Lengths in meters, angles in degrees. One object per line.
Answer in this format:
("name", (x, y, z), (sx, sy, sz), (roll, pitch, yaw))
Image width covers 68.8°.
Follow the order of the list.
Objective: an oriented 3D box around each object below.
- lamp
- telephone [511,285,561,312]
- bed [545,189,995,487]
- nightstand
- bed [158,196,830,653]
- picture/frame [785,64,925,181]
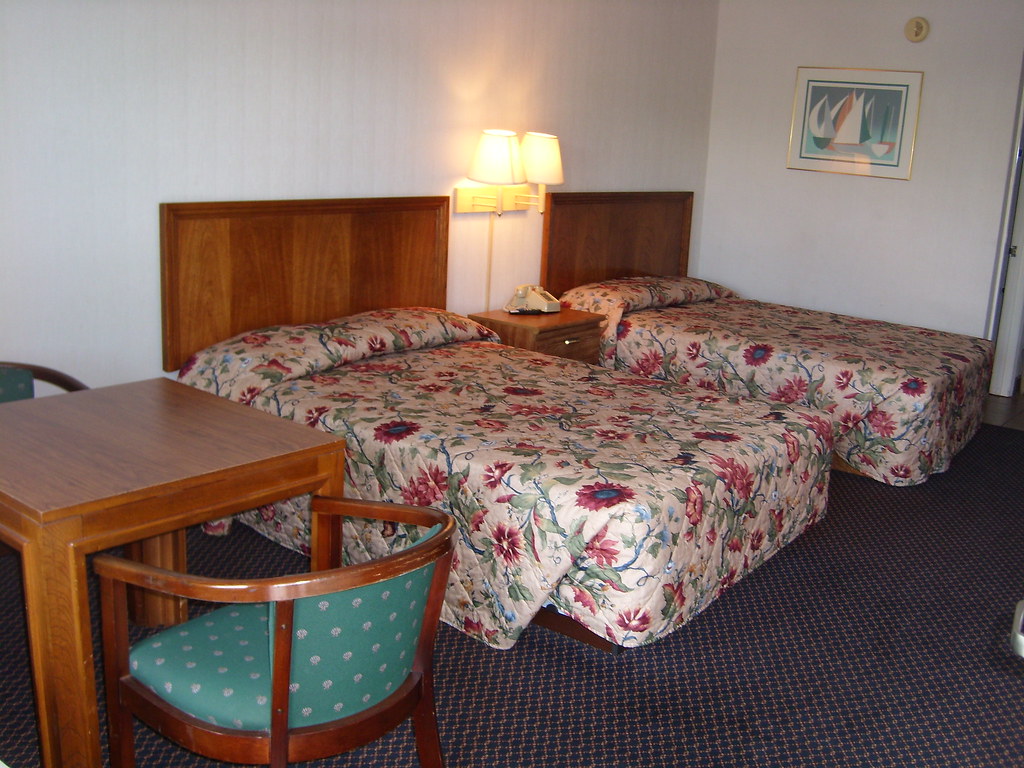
("lamp", (0.005, -1.257, 4.628), (0.691, 0.433, 0.431), (-16, 22, -42))
("telephone", (0.152, -0.539, 4.787), (0.291, 0.115, 0.161), (0, 12, -11))
("bed", (1.791, -0.475, 5.036), (2.500, 1.232, 1.583), (21, 29, 30))
("nightstand", (0.182, -0.394, 4.743), (0.438, 0.467, 0.555), (18, 25, 40))
("bed", (-0.093, 0.022, 3.474), (2.545, 1.261, 1.746), (19, 27, 32))
("picture/frame", (2.637, -1.992, 5.788), (0.041, 0.779, 1.015), (-26, 34, -26))
